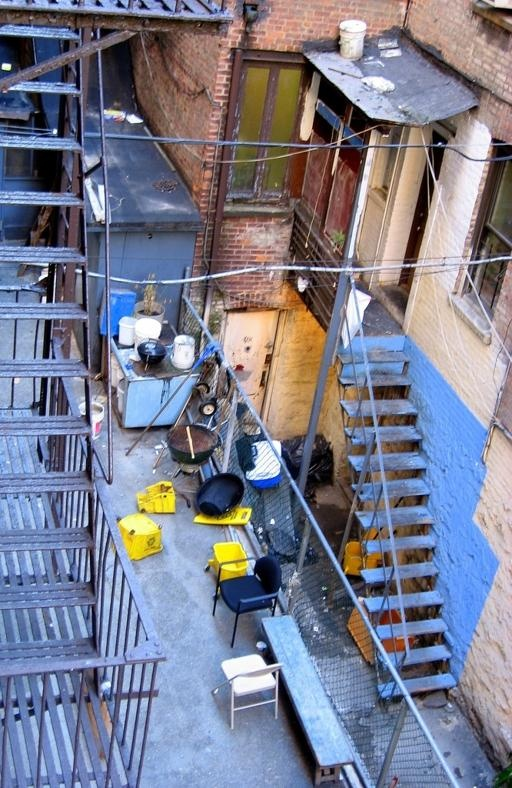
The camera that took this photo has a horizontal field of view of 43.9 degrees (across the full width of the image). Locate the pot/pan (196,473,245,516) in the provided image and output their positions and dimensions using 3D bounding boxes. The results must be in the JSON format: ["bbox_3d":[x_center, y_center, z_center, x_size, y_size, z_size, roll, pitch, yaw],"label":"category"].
[{"bbox_3d":[-0.420,1.134,7.193,0.532,0.435,0.130,-42,21,-9],"label":"pot/pan"}]

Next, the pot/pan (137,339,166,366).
[{"bbox_3d":[-1.423,-0.568,8.635,0.333,0.235,0.346,0,54,-16],"label":"pot/pan"}]

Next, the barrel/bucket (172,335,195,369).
[{"bbox_3d":[-0.993,-0.576,8.743,0.326,0.387,0.370,9,30,-2],"label":"barrel/bucket"}]

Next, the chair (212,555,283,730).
[{"bbox_3d":[-0.068,2.175,5.473,0.370,0.459,1.052,3,35,-12],"label":"chair"}]

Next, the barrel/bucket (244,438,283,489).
[{"bbox_3d":[0.074,0.802,7.040,0.261,0.549,0.718,4,30,-11],"label":"barrel/bucket"}]

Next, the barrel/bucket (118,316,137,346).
[{"bbox_3d":[-1.819,-0.871,9.021,0.345,0.454,0.363,6,31,-3],"label":"barrel/bucket"}]

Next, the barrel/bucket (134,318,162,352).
[{"bbox_3d":[-1.493,-0.813,8.760,0.295,0.323,0.299,13,38,-11],"label":"barrel/bucket"}]

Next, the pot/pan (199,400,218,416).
[{"bbox_3d":[-0.617,0.186,8.398,0.161,0.165,0.059,-25,64,-39],"label":"pot/pan"}]
